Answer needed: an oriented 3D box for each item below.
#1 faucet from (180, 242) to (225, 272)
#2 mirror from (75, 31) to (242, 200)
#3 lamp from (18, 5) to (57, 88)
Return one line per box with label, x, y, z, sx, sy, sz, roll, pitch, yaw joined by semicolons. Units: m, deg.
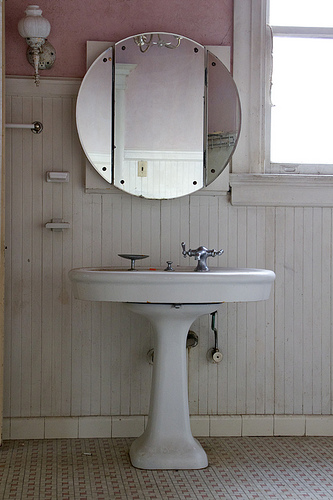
faucet;0.124;0.060;2.135;0.142;0.118;0.100;0;-9;10
mirror;-0.055;-0.537;2.299;0.564;0.634;0.024;-2;4;-4
lamp;-0.498;-0.775;2.221;0.135;0.280;0.144;-1;6;-10
